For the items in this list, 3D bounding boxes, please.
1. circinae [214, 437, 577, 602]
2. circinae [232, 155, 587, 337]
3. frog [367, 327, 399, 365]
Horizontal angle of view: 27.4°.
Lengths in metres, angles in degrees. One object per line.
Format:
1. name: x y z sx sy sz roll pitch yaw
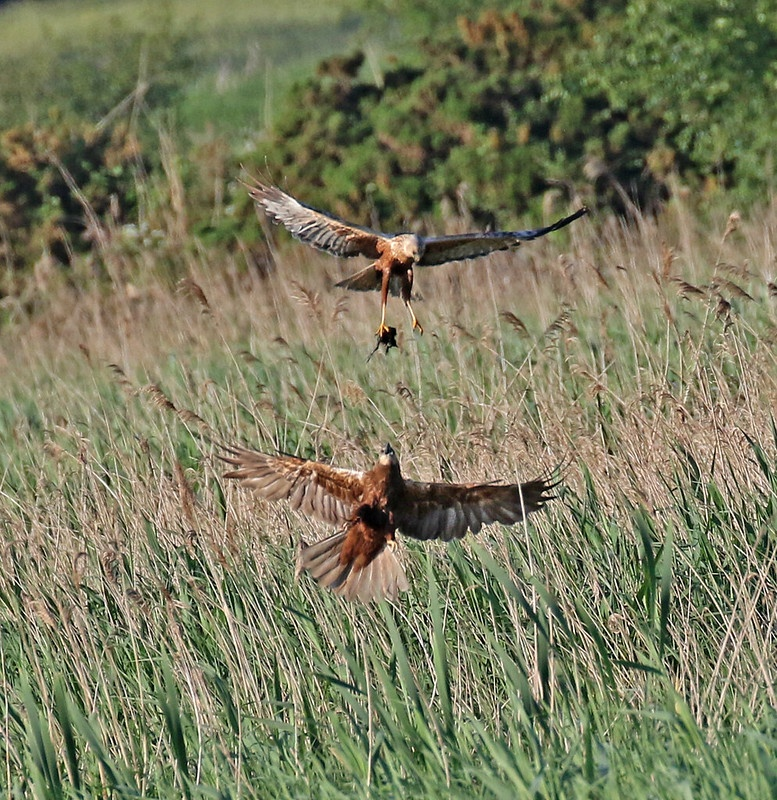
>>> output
1. circinae: -0.064 0.611 9.026 1.477 0.701 0.951 12 83 -4
2. circinae: 0.017 -0.879 10.378 2.006 0.877 1.308 -1 102 -21
3. frog: -0.036 -0.349 10.912 0.086 0.093 0.227 25 68 13
